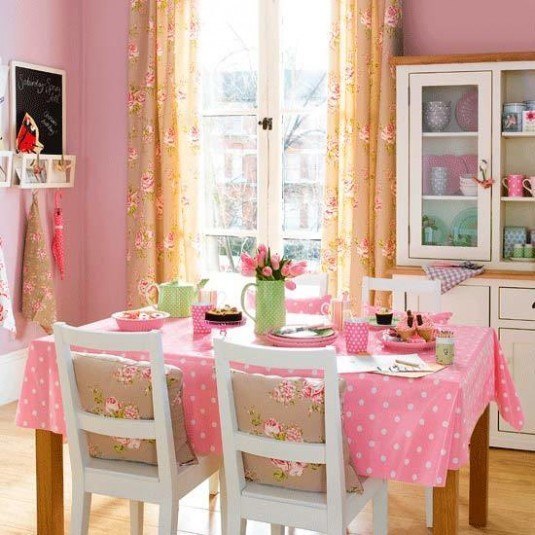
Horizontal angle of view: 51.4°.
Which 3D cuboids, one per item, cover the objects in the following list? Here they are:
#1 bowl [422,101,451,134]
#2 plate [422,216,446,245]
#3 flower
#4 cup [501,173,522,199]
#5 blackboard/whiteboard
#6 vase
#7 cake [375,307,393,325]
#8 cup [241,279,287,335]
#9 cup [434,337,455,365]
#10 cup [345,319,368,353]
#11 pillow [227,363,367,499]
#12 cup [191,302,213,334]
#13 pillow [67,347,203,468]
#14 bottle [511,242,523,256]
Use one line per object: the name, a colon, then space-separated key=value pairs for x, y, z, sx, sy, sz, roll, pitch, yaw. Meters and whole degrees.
bowl: x=0.909 y=-0.791 z=3.006 sx=0.142 sy=0.182 sz=0.139 roll=1 pitch=5 yaw=0
plate: x=0.908 y=-0.199 z=3.025 sx=0.123 sy=0.155 sz=0.049 roll=5 pitch=2 yaw=9
flower: x=0.025 y=0.015 z=1.953 sx=0.182 sy=0.194 sz=0.154 roll=1 pitch=8 yaw=-39
cup: x=1.301 y=-0.437 z=2.929 sx=0.136 sy=0.152 sz=0.090 roll=-1 pitch=3 yaw=-25
blackboard/whiteboard: x=-1.495 y=-1.038 z=3.642 sx=0.042 sy=0.569 sz=0.472 roll=1 pitch=6 yaw=21
vase: x=0.001 y=0.139 z=1.939 sx=0.187 sy=0.236 sz=0.125 roll=2 pitch=4 yaw=34
cake: x=0.424 y=0.173 z=2.009 sx=0.044 sy=0.044 sz=0.055 roll=4 pitch=6 yaw=19
cup: x=-0.005 y=0.139 z=2.045 sx=0.182 sy=0.227 sz=0.128 roll=3 pitch=5 yaw=34
cup: x=0.487 y=0.229 z=1.517 sx=0.056 sy=0.102 sz=0.061 roll=0 pitch=-1 yaw=0
cup: x=0.276 y=0.205 z=1.706 sx=0.075 sy=0.114 sz=0.084 roll=1 pitch=-1 yaw=11
pillow: x=0.062 y=0.388 z=1.284 sx=0.284 sy=0.335 sz=0.105 roll=3 pitch=14 yaw=31
cup: x=-0.240 y=0.180 z=1.969 sx=0.082 sy=0.144 sz=0.087 roll=0 pitch=-5 yaw=0
pillow: x=-0.360 y=0.383 z=1.480 sx=0.258 sy=0.294 sz=0.108 roll=7 pitch=24 yaw=23
bottle: x=1.325 y=-0.102 z=2.937 sx=0.050 sy=0.068 sz=0.054 roll=2 pitch=0 yaw=0
